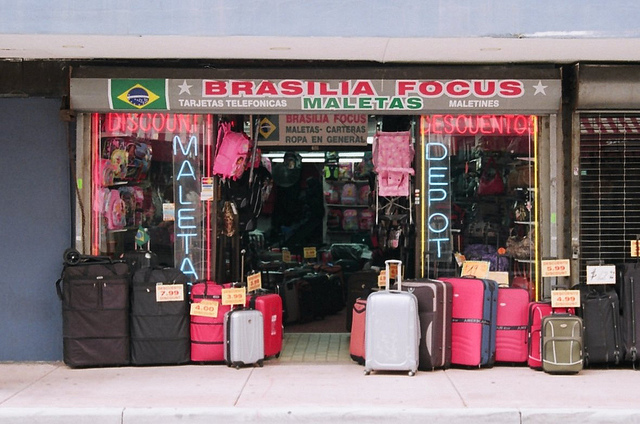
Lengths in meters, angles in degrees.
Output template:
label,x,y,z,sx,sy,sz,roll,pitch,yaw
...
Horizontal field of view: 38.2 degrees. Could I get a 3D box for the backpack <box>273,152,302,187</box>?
label,x,y,z,sx,sy,sz,roll,pitch,yaw
backpack,-0.581,-0.787,16.688,0.450,0.588,0.138,4,11,5

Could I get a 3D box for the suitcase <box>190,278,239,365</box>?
label,x,y,z,sx,sy,sz,roll,pitch,yaw
suitcase,-1.506,1.558,13.195,0.647,1.097,0.632,-2,6,-4

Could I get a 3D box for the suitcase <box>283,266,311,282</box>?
label,x,y,z,sx,sy,sz,roll,pitch,yaw
suitcase,-0.393,1.044,15.523,0.254,0.221,0.402,2,4,17

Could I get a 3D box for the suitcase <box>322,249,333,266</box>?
label,x,y,z,sx,sy,sz,roll,pitch,yaw
suitcase,0.123,0.786,16.539,0.139,0.225,0.330,-1,-1,29

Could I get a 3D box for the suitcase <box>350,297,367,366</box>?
label,x,y,z,sx,sy,sz,roll,pitch,yaw
suitcase,0.543,1.680,12.926,0.155,0.917,0.575,0,-1,-16

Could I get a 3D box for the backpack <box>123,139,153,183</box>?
label,x,y,z,sx,sy,sz,roll,pitch,yaw
backpack,-2.690,-0.780,13.667,0.450,0.566,0.552,5,7,-18

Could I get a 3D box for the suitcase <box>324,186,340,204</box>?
label,x,y,z,sx,sy,sz,roll,pitch,yaw
suitcase,0.248,-0.295,16.967,0.328,0.348,0.213,2,1,7

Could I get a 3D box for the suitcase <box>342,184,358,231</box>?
label,x,y,z,sx,sy,sz,roll,pitch,yaw
suitcase,0.536,-0.098,16.779,0.396,0.718,0.208,1,15,3

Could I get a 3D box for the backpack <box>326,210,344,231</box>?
label,x,y,z,sx,sy,sz,roll,pitch,yaw
backpack,0.269,0.140,16.932,0.316,0.450,0.236,2,11,5

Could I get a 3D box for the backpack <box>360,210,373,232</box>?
label,x,y,z,sx,sy,sz,roll,pitch,yaw
backpack,0.834,0.154,16.860,0.227,0.370,0.111,2,3,5

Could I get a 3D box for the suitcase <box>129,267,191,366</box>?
label,x,y,z,sx,sy,sz,roll,pitch,yaw
suitcase,-2.256,1.380,13.201,0.939,1.486,0.819,1,15,-2

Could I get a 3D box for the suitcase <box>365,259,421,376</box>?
label,x,y,z,sx,sy,sz,roll,pitch,yaw
suitcase,0.997,1.446,12.839,0.768,1.551,0.881,-1,-1,2

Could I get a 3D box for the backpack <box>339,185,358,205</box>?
label,x,y,z,sx,sy,sz,roll,pitch,yaw
backpack,0.507,-0.315,16.782,0.330,0.349,0.126,-1,-1,0

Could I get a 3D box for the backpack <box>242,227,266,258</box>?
label,x,y,z,sx,sy,sz,roll,pitch,yaw
backpack,-1.130,0.521,15.422,0.360,0.306,0.567,12,-33,4

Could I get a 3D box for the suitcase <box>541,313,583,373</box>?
label,x,y,z,sx,sy,sz,roll,pitch,yaw
suitcase,3.326,1.762,12.652,0.587,0.874,0.463,1,11,16

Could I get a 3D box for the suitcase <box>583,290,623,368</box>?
label,x,y,z,sx,sy,sz,roll,pitch,yaw
suitcase,3.876,1.583,12.721,0.561,0.983,0.139,0,-1,-11

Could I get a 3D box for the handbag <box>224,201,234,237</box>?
label,x,y,z,sx,sy,sz,roll,pitch,yaw
handbag,-1.374,0.092,13.857,0.169,0.487,0.057,0,-1,-28

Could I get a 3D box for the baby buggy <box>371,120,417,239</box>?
label,x,y,z,sx,sy,sz,roll,pitch,yaw
baby buggy,1.120,-0.483,13.923,0.640,1.774,0.646,-1,-1,4

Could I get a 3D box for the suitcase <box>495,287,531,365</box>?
label,x,y,z,sx,sy,sz,roll,pitch,yaw
suitcase,2.687,1.599,12.905,0.456,1.069,0.132,-1,-1,10

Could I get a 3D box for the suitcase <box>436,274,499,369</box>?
label,x,y,z,sx,sy,sz,roll,pitch,yaw
suitcase,2.064,1.574,13.069,0.857,1.252,0.464,-1,-5,41

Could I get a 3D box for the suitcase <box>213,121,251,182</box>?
label,x,y,z,sx,sy,sz,roll,pitch,yaw
suitcase,-1.344,-0.900,13.785,0.614,0.784,0.283,10,-5,1

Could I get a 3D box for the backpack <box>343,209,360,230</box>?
label,x,y,z,sx,sy,sz,roll,pitch,yaw
backpack,0.550,0.163,16.992,0.400,0.549,0.300,-1,-2,0

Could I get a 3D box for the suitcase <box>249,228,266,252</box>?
label,x,y,z,sx,sy,sz,roll,pitch,yaw
suitcase,-1.118,0.485,16.550,0.359,0.309,0.566,2,-30,-1
